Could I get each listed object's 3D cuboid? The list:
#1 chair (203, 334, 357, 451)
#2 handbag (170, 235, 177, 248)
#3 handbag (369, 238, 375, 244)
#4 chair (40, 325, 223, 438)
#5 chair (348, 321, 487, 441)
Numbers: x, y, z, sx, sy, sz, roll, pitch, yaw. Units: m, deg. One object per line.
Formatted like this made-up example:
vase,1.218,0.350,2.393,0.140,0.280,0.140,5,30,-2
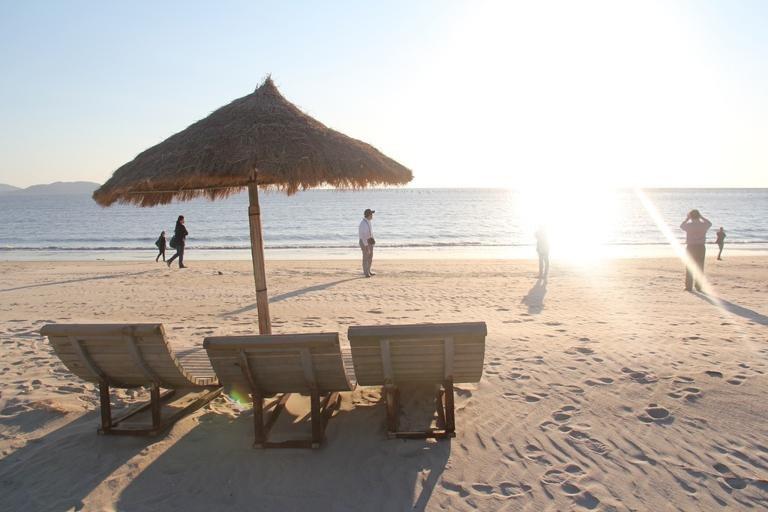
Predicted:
chair,-1.135,1.457,6.825,1.553,1.339,0.724,-1,9,-1
handbag,-6.306,-0.399,17.860,0.183,0.354,0.637,-4,8,-20
handbag,-0.311,-0.388,15.544,0.186,0.230,0.124,-3,14,1
chair,-2.869,1.377,6.916,1.779,1.340,0.849,-4,9,-23
chair,0.405,1.456,7.204,1.534,0.997,1.837,-2,-10,1
